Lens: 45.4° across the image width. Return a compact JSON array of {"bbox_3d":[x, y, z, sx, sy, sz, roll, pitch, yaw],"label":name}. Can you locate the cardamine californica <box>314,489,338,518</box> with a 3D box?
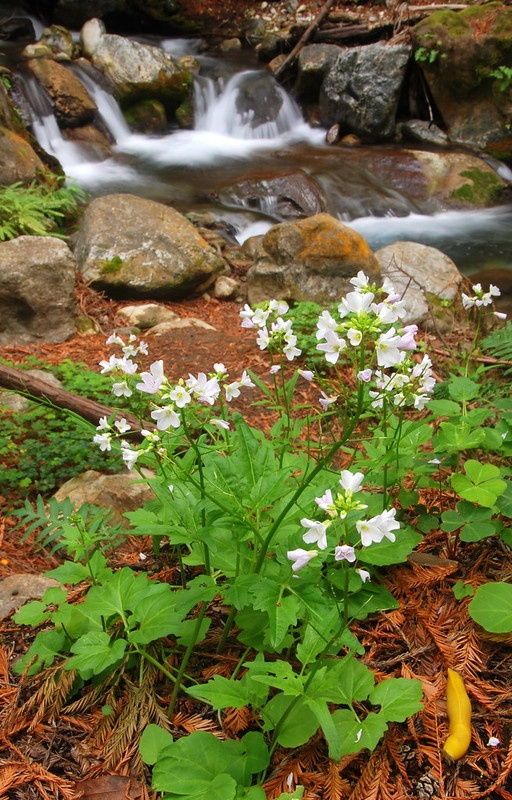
[{"bbox_3d":[0.197,0.288,1.727,0.084,0.059,0.031,51,23,22],"label":"cardamine californica"}]
